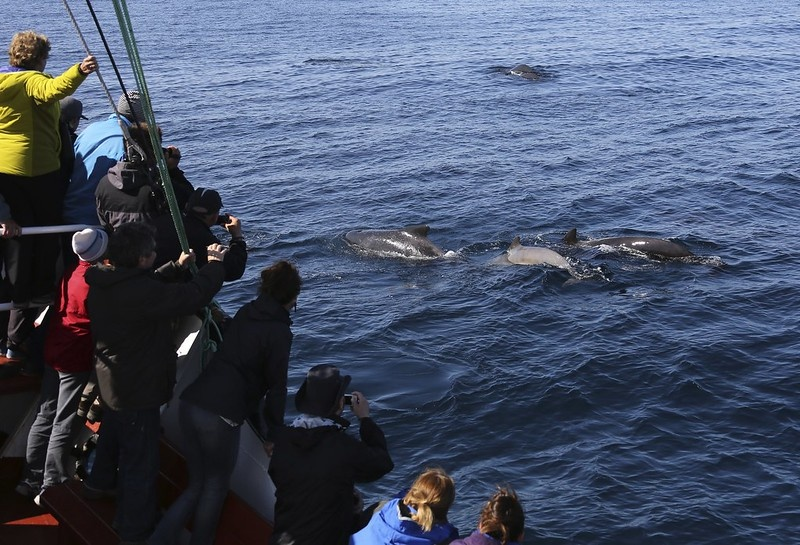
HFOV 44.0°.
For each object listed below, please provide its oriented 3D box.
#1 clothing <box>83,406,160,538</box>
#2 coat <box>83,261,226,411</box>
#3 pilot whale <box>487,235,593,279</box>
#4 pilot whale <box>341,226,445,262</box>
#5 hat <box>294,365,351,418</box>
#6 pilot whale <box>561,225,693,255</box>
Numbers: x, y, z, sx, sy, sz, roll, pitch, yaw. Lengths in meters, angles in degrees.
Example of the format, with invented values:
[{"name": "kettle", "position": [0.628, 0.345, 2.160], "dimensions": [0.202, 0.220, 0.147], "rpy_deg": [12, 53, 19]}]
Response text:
[{"name": "clothing", "position": [-3.332, 2.363, 11.800], "dimensions": [0.972, 1.379, 1.118], "rpy_deg": [-5, 30, -6]}, {"name": "coat", "position": [-3.182, 0.739, 12.462], "dimensions": [2.002, 1.661, 1.819], "rpy_deg": [-9, 0, -36]}, {"name": "pilot whale", "position": [3.407, -0.374, 24.032], "dimensions": [2.194, 0.865, 0.711], "rpy_deg": [-2, 71, 26]}, {"name": "pilot whale", "position": [-0.125, -0.857, 25.649], "dimensions": [2.945, 0.747, 0.953], "rpy_deg": [7, -3, 29]}, {"name": "hat", "position": [-0.914, 1.399, 11.817], "dimensions": [0.615, 0.277, 0.655], "rpy_deg": [12, 53, 10]}, {"name": "pilot whale", "position": [5.332, -0.678, 24.721], "dimensions": [3.798, 0.836, 0.771], "rpy_deg": [2, 43, 24]}]
